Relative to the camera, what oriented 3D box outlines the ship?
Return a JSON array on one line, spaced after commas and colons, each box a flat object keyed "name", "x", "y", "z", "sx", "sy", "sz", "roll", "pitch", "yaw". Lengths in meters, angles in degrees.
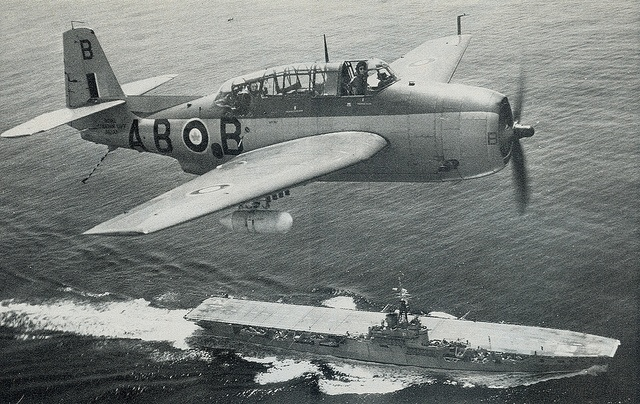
[{"name": "ship", "x": 4.973, "y": 6.772, "z": 45.990, "sx": 25.680, "sy": 2.461, "sz": 3.523, "roll": 2, "pitch": 31, "yaw": 9}]
